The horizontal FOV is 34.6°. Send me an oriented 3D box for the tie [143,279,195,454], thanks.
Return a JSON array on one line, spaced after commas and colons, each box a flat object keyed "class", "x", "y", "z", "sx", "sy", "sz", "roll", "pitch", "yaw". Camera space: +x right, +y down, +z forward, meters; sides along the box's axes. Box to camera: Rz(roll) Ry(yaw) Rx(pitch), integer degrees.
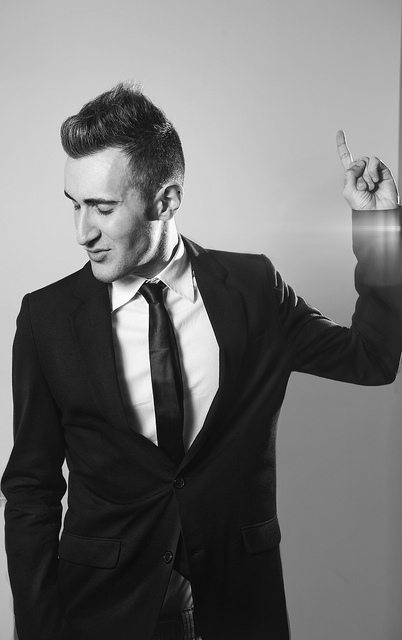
[{"class": "tie", "x": -0.074, "y": 0.101, "z": 1.413, "sx": 0.077, "sy": 0.371, "sz": 0.101, "roll": -11, "pitch": 2, "yaw": 11}]
